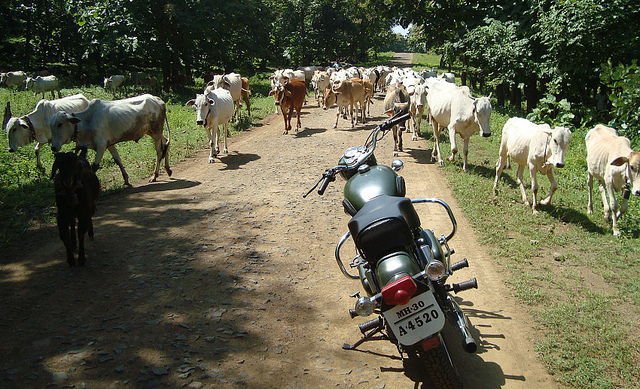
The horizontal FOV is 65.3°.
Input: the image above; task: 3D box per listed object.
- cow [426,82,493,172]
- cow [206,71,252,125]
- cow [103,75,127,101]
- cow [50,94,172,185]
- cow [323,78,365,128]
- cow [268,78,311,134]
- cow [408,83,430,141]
[{"bbox_3d":[5.004,-2.433,18.124,1.351,3.057,4.952,-5,19,-6],"label":"cow"},{"bbox_3d":[-4.742,-5.257,25.108,1.259,1.821,3.285,0,17,9],"label":"cow"},{"bbox_3d":[-12.881,-6.840,31.545,0.702,1.291,2.250,9,24,12],"label":"cow"},{"bbox_3d":[-6.852,-1.730,16.870,4.138,2.855,1.391,-14,15,-43],"label":"cow"},{"bbox_3d":[1.305,-4.436,24.164,1.137,2.188,3.576,8,21,39],"label":"cow"},{"bbox_3d":[-1.380,-4.174,23.696,1.136,2.365,2.312,2,14,4],"label":"cow"},{"bbox_3d":[4.220,-3.704,21.690,0.913,2.350,3.574,-1,16,8],"label":"cow"}]
